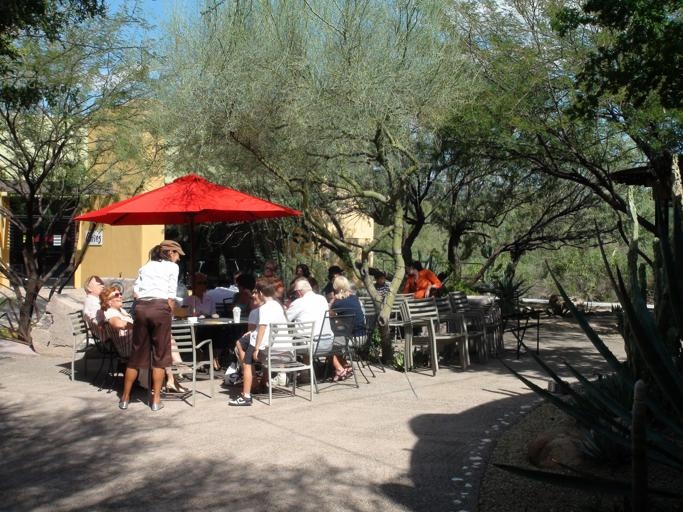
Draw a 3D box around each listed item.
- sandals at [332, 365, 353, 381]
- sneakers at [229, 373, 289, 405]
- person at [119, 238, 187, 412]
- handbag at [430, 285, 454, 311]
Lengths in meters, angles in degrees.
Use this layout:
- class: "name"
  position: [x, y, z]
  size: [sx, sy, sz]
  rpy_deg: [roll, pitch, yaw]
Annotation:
- class: "sandals"
  position: [0.010, 1.712, 8.709]
  size: [0.177, 0.169, 0.537]
  rpy_deg: [-3, -8, 5]
- class: "sneakers"
  position: [-1.009, 1.704, 7.396]
  size: [0.639, 0.305, 0.219]
  rpy_deg: [8, -8, -28]
- class: "person"
  position: [-2.302, 0.821, 7.223]
  size: [0.669, 2.024, 0.682]
  rpy_deg: [2, -8, -40]
- class: "handbag"
  position: [1.876, 0.805, 11.354]
  size: [0.219, 0.449, 0.267]
  rpy_deg: [-18, -13, -3]
